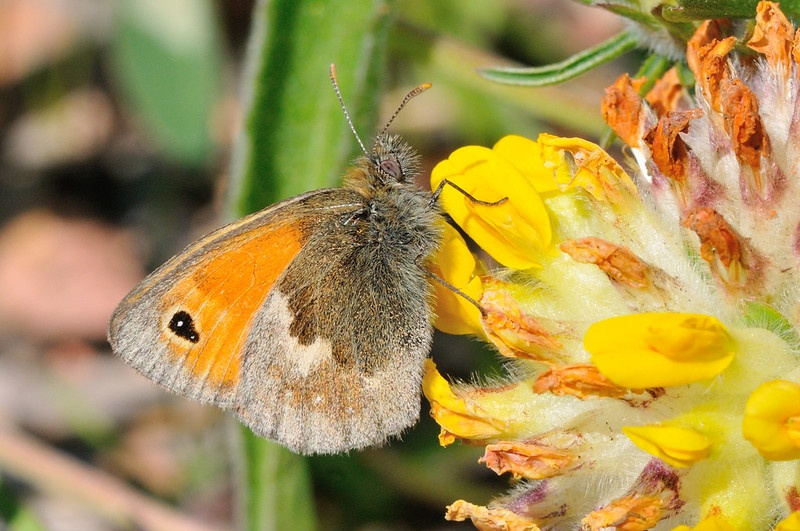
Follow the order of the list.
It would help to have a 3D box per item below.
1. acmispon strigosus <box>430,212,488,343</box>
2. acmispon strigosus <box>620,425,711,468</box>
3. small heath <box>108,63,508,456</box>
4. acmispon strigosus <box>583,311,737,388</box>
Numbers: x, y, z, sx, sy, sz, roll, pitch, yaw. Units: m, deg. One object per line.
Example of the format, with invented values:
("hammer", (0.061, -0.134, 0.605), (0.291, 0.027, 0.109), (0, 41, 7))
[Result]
("acmispon strigosus", (0.243, 0.081, 3.795), (0.163, 0.339, 0.410), (-11, 17, -10))
("acmispon strigosus", (0.989, 0.648, 3.272), (0.290, 0.152, 0.122), (17, 61, 3))
("small heath", (-0.438, 0.287, 4.096), (1.605, 0.819, 0.574), (-27, 20, -2))
("acmispon strigosus", (0.956, 0.301, 3.212), (0.508, 0.325, 0.117), (-22, 21, 10))
